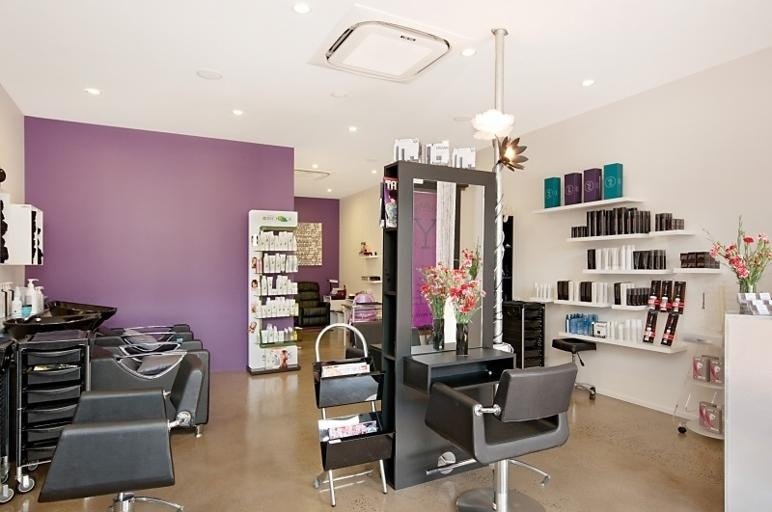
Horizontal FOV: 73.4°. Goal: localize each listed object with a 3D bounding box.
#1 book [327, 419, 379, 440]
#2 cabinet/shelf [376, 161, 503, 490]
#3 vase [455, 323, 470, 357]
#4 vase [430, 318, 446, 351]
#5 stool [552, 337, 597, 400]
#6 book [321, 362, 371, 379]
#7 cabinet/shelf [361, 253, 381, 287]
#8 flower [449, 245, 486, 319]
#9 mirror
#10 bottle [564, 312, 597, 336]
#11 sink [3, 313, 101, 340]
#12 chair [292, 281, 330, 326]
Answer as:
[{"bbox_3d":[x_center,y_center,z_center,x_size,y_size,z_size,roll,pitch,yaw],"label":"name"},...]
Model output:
[{"bbox_3d":[-0.297,1.612,4.790,0.489,0.107,0.105,-3,11,-18],"label":"book"},{"bbox_3d":[0.599,0.306,5.268,1.003,2.421,0.256,-2,17,5],"label":"cabinet/shelf"},{"bbox_3d":[0.745,0.788,5.008,0.130,0.292,0.257,1,10,7],"label":"vase"},{"bbox_3d":[0.498,0.759,5.128,0.199,0.266,0.194,-1,0,-21],"label":"vase"},{"bbox_3d":[2.669,1.552,7.195,0.642,0.674,0.593,1,-8,-17],"label":"stool"},{"bbox_3d":[-0.373,1.051,4.792,0.451,0.105,0.048,-3,11,-14],"label":"book"},{"bbox_3d":[-0.317,0.319,11.871,0.262,0.725,0.761,1,-3,-25],"label":"cabinet/shelf"},{"bbox_3d":[0.792,0.386,5.021,0.330,0.587,0.284,9,19,5],"label":"flower"},{"bbox_3d":[0.575,0.111,5.037,1.001,1.899,0.148,0,13,13],"label":"mirror"},{"bbox_3d":[2.680,0.920,7.188,0.262,0.424,0.467,3,-2,-33],"label":"bottle"},{"bbox_3d":[-3.456,0.728,5.410,0.858,0.238,0.548,-7,12,-34],"label":"sink"},{"bbox_3d":[-1.833,1.208,12.795,1.410,1.025,1.378,1,3,-11],"label":"chair"}]
